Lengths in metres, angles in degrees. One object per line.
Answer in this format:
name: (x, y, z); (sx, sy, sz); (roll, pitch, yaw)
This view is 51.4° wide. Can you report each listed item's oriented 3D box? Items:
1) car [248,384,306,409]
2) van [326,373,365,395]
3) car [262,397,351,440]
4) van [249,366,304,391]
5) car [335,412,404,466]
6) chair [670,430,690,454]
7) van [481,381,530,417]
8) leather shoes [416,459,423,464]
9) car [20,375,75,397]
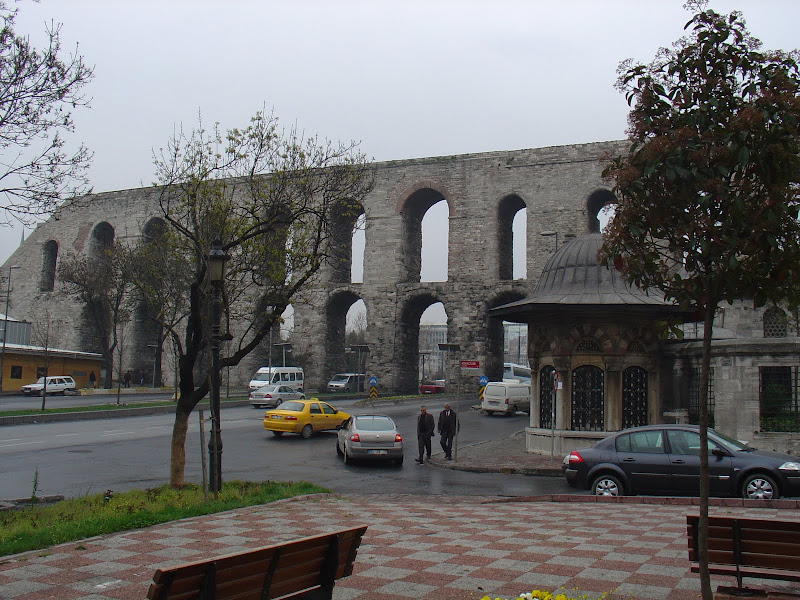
car: (-6.234, 5.076, 43.977); (1.228, 0.963, 2.747); (-1, 1, 40)
van: (-3.672, 5.792, 57.697); (1.320, 1.114, 2.257); (-7, -17, 29)
car: (-3.636, 4.471, 31.258); (2.805, 1.340, 1.170); (4, -4, -42)
van: (-7.620, 4.946, 52.722); (1.769, 1.592, 3.043); (-8, -17, 27)
car: (-0.978, 4.328, 25.514); (1.290, 1.012, 2.456); (1, -4, -6)
chair: (6.092, 3.095, 18.084); (0.321, 0.541, 0.493); (-3, -10, 2)
van: (5.616, 5.002, 42.481); (1.579, 1.341, 2.640); (-4, -3, 40)
leather shoes: (0.621, 4.996, 25.621); (0.093, 0.198, 0.184); (-20, -3, 22)
car: (-23.041, 5.694, 54.372); (1.573, 1.245, 2.811); (-10, -15, 41)
